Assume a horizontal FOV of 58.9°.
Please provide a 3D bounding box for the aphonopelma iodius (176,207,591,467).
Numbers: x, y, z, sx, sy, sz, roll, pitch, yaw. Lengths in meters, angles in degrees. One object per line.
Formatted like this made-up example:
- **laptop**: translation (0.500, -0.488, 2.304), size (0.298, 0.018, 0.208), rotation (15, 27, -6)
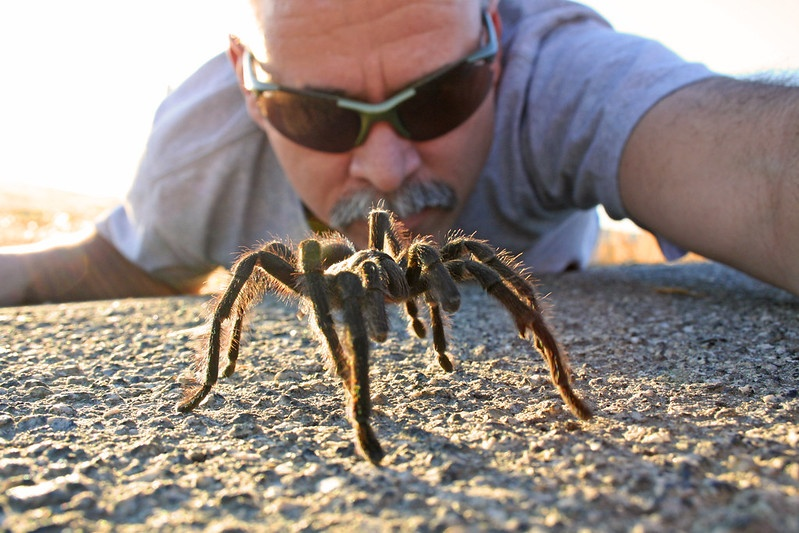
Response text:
- **aphonopelma iodius**: translation (0.043, 0.125, 1.931), size (0.977, 0.436, 0.849), rotation (6, 17, 25)
